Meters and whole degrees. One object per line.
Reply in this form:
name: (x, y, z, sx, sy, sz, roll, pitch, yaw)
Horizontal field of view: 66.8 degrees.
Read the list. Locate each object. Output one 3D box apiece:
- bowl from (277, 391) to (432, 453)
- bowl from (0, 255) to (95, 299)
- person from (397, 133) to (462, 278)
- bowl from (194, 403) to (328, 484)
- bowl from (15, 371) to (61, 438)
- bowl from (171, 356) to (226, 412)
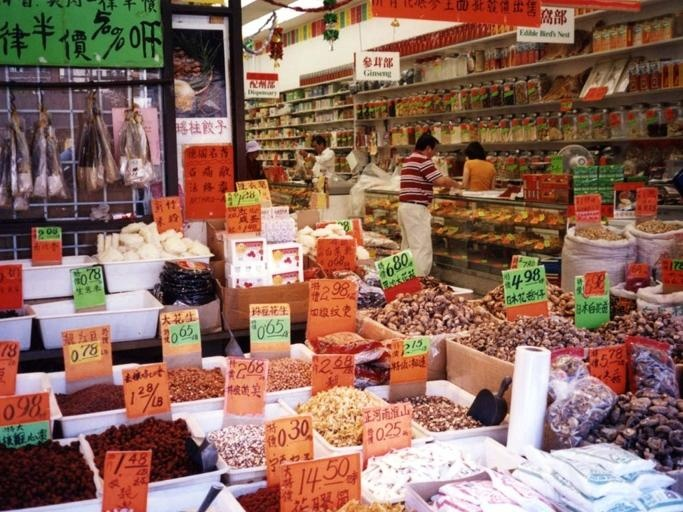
bowl: (-0.056, 0.700, 2.122, 0.271, 0.130, 0.396, 0, 2, -25)
bowl: (-1.705, 0.114, 3.113, 0.428, 0.224, 0.551, -8, 13, -30)
person: (0.972, -0.637, 6.312, 0.538, 1.711, 0.459, -5, 12, -20)
bowl: (-0.425, 0.718, 2.064, 0.354, 0.096, 0.368, 1, 13, 0)
bowl: (-1.358, 0.618, 2.319, 0.228, 0.129, 0.337, -5, 35, -22)
bowl: (-0.676, 0.602, 2.433, 0.226, 0.063, 0.211, 3, 16, -1)
